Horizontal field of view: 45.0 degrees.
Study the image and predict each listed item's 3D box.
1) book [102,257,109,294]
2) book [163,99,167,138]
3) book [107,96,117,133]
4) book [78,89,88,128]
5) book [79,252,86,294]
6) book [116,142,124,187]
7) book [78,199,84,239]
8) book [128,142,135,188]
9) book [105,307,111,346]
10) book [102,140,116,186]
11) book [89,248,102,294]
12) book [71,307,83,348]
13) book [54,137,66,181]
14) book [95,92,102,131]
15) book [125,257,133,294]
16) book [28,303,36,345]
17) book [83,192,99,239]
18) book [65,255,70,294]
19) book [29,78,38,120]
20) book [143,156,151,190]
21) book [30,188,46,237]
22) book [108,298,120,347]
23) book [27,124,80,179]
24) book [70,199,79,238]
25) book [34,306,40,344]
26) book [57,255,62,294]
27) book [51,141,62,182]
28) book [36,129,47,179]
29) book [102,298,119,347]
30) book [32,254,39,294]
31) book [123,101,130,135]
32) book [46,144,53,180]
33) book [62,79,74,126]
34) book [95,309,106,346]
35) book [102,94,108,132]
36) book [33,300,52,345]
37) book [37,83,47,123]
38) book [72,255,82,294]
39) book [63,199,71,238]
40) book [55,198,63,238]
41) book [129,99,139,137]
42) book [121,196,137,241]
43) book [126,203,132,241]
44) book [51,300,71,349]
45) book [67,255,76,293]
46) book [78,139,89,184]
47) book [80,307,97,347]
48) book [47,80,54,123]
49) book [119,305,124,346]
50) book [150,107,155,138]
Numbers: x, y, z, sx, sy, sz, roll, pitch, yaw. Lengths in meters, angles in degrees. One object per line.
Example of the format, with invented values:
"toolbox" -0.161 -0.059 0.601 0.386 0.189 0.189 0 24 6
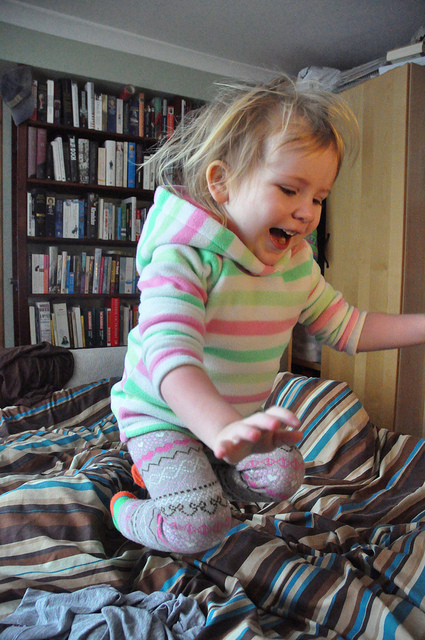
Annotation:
"book" -0.565 -0.242 2.688 0.024 0.219 0.173 6 6 -9
"book" -0.253 -1.079 2.716 0.025 0.208 0.105 -2 3 -5
"book" -0.506 -1.032 2.582 0.054 0.175 0.016 -4 4 -36
"book" -0.630 -1.018 2.485 0.043 0.170 0.014 -3 3 -31
"book" -0.668 -0.243 2.620 0.027 0.243 0.197 0 4 -21
"book" -0.480 -0.808 2.632 0.032 0.274 0.206 -2 8 -16
"book" -0.665 -0.508 2.578 0.016 0.193 0.042 0 3 32
"book" -0.424 -0.805 2.674 0.046 0.230 0.026 -4 4 -37
"book" -0.552 0.034 2.712 0.029 0.198 0.027 -2 3 -12
"book" -0.530 -0.797 2.597 0.084 0.218 0.231 -2 6 -9
"book" -0.610 -0.252 2.658 0.032 0.281 0.227 2 -3 -12
"book" -0.700 0.034 2.626 0.068 0.176 0.185 -7 10 -21
"book" -0.737 -0.768 2.459 0.031 0.218 0.171 -13 20 -11
"book" -0.567 -1.026 2.537 0.026 0.174 0.035 -1 3 19
"book" -0.453 -0.244 2.753 0.066 0.181 0.192 0 3 -9
"book" -0.883 0.014 2.494 0.028 0.254 0.189 -3 5 -19
"book" -0.623 -0.532 2.600 0.081 0.220 0.238 0 3 -17
"book" -0.734 -0.230 2.581 0.016 0.185 0.039 -1 3 19
"book" -0.831 -1.015 2.361 0.051 0.138 0.151 -4 42 -14
"book" -0.353 -0.777 2.722 0.038 0.177 0.077 -2 3 -8
"book" -0.833 -0.512 2.455 0.068 0.226 0.056 -2 3 -18
"book" -0.530 -0.001 2.721 0.092 0.232 0.248 0 4 -9
"book" -0.761 -0.799 2.446 0.243 0.241 0.050 -3 3 -24
"book" -0.692 -0.505 2.560 0.019 0.187 0.053 1 4 41
"book" -0.860 0.013 2.504 0.025 0.216 0.161 -3 8 -21
"book" -0.765 -0.233 2.550 0.024 0.227 0.184 0 4 -16
"book" -0.747 -0.759 2.452 0.043 0.186 0.018 -2 3 -8
"book" -0.812 -0.779 2.419 0.050 0.227 0.036 -2 3 -19
"book" -0.545 0.005 2.712 0.143 0.236 0.247 1 -3 -15
"book" -0.863 -0.228 2.496 0.040 0.185 0.014 -3 3 -25
"book" -0.443 -1.036 2.620 0.051 0.131 0.143 -2 23 -12
"book" -0.782 -0.754 2.448 0.035 0.162 0.020 -3 3 -21
"book" -0.690 -1.034 2.437 0.042 0.200 0.047 -2 3 -15
"book" -0.593 0.033 2.683 0.069 0.174 0.186 -1 5 -11
"book" -0.539 -1.030 2.561 0.017 0.172 0.030 1 4 42
"book" -0.833 0.014 2.494 0.107 0.175 0.188 -4 6 -15
"book" -0.813 -1.037 2.444 0.048 0.216 0.102 -2 3 -15
"book" -0.693 -0.236 2.605 0.029 0.249 0.193 0 2 -15
"book" -0.724 -0.502 2.541 0.011 0.180 0.046 1 4 45
"book" -0.758 -0.497 2.517 0.048 0.185 0.026 -3 3 -34
"book" -0.409 -1.047 2.643 0.056 0.143 0.155 0 42 -7
"book" -0.446 -0.529 2.713 0.041 0.240 0.218 -2 8 -22
"book" -0.445 -0.529 2.716 0.029 0.200 0.179 -1 9 -15
"book" -0.757 0.029 2.548 0.117 0.185 0.197 -13 11 -15
"book" -0.716 -0.232 2.592 0.018 0.183 0.045 1 4 40
"book" -0.631 -0.775 2.513 0.055 0.207 0.032 -3 3 -25
"book" -0.649 0.033 2.654 0.067 0.181 0.193 -3 5 -19
"book" -0.764 -1.024 2.418 0.038 0.189 0.037 -3 3 -28
"book" -0.494 0.026 2.773 0.029 0.211 0.043 -2 3 -18
"book" -0.318 -1.041 2.702 0.022 0.163 0.037 -1 3 11
